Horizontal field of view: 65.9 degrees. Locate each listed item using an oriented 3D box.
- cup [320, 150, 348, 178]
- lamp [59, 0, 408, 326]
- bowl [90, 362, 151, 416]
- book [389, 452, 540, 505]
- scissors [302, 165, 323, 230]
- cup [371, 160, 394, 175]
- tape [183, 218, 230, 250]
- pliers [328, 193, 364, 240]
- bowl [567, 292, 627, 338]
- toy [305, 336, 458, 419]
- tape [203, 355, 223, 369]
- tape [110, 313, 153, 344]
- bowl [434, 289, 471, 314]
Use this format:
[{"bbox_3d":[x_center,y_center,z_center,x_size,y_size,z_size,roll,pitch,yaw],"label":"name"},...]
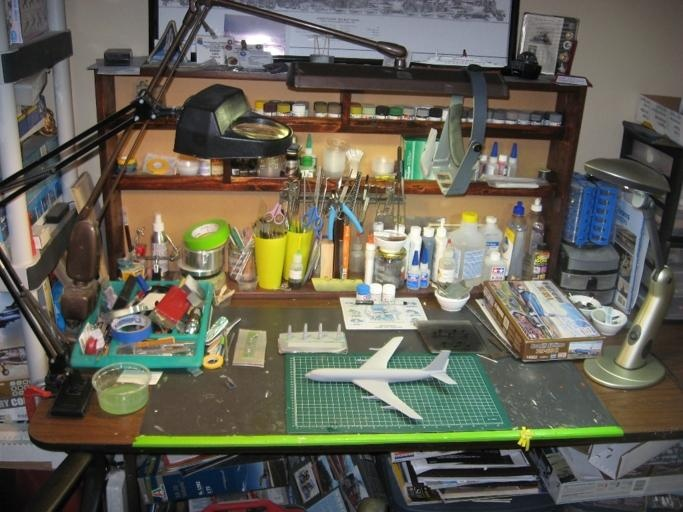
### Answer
[{"bbox_3d":[-0.042,-0.454,2.581,0.126,0.177,0.125,2,26,-1],"label":"cup"},{"bbox_3d":[-0.460,-0.415,2.274,1.368,1.519,0.361,5,54,-17],"label":"lamp"},{"bbox_3d":[-0.754,0.458,1.812,0.169,0.075,0.168,6,31,-4],"label":"bowl"},{"bbox_3d":[0.466,0.834,1.978,0.375,0.111,0.273,0,16,-1],"label":"book"},{"bbox_3d":[-0.141,-0.277,2.530,0.109,0.051,0.354,0,46,-2],"label":"scissors"},{"bbox_3d":[0.200,-0.432,2.575,0.083,0.050,0.083,2,31,-1],"label":"cup"},{"bbox_3d":[-0.632,-0.120,2.438,0.165,0.049,0.160,-14,21,19],"label":"tape"},{"bbox_3d":[0.021,-0.148,2.524,0.179,0.235,0.029,-1,32,-1],"label":"pliers"},{"bbox_3d":[1.133,0.256,2.317,0.146,0.078,0.216,3,30,-6],"label":"bowl"},{"bbox_3d":[0.167,0.445,1.888,0.325,0.079,0.291,1,33,-4],"label":"toy"},{"bbox_3d":[-0.479,0.390,1.970,0.051,0.013,0.050,6,28,5],"label":"tape"},{"bbox_3d":[-0.795,0.276,1.990,0.117,0.043,0.117,31,32,29],"label":"tape"},{"bbox_3d":[0.506,0.201,2.376,0.105,0.049,0.105,3,21,-1],"label":"bowl"}]
